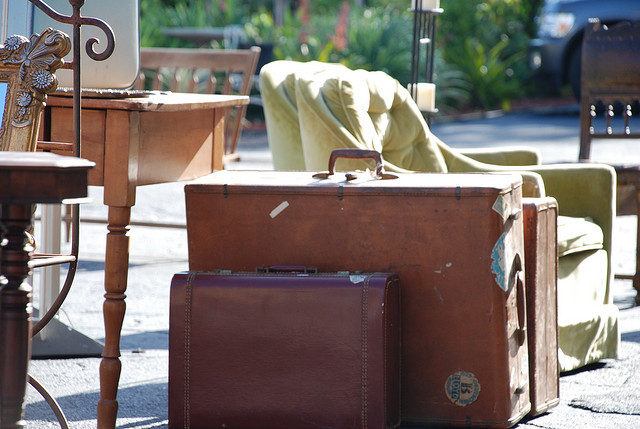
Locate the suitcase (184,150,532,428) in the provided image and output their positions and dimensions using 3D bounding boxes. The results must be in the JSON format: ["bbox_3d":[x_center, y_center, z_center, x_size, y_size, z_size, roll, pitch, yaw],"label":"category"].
[{"bbox_3d":[0.173,0.414,7.414,1.180,1.034,0.446,0,3,9],"label":"suitcase"}]

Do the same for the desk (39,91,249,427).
[{"bbox_3d":[-0.780,0.117,7.976,1.288,1.716,1.339,5,9,19],"label":"desk"}]

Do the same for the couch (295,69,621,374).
[{"bbox_3d":[0.839,-0.112,8.738,1.722,1.899,1.325,-2,2,25],"label":"couch"}]
